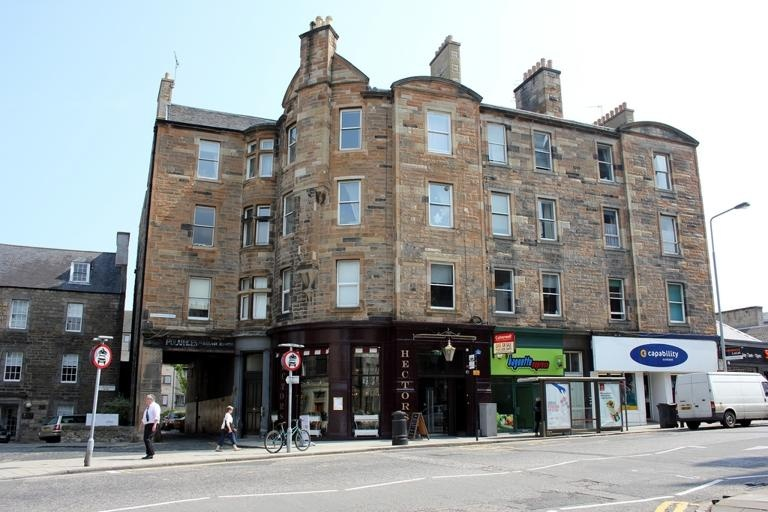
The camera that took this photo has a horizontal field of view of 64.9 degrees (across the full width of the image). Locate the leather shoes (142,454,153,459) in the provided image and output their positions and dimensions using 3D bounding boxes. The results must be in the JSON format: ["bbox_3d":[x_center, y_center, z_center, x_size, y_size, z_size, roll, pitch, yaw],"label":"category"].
[{"bbox_3d":[-8.885,7.460,22.522,0.463,0.176,0.173,7,-18,-6],"label":"leather shoes"}]

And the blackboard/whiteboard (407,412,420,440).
[{"bbox_3d":[1.428,8.149,29.028,0.570,1.230,1.091,-3,-16,0],"label":"blackboard/whiteboard"}]

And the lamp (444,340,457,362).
[{"bbox_3d":[3.297,4.705,30.464,0.611,1.032,1.568,-4,-16,6],"label":"lamp"}]

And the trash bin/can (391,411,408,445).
[{"bbox_3d":[0.668,7.515,26.492,0.654,1.411,0.450,0,-17,-10],"label":"trash bin/can"}]

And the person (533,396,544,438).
[{"bbox_3d":[7.607,7.903,29.802,0.430,1.745,1.268,-6,-16,11],"label":"person"}]

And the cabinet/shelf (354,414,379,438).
[{"bbox_3d":[-0.869,8.420,29.816,1.849,1.400,1.006,2,-23,-6],"label":"cabinet/shelf"}]

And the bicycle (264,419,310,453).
[{"bbox_3d":[-4.071,7.659,25.761,2.279,1.280,1.131,11,-17,-39],"label":"bicycle"}]
